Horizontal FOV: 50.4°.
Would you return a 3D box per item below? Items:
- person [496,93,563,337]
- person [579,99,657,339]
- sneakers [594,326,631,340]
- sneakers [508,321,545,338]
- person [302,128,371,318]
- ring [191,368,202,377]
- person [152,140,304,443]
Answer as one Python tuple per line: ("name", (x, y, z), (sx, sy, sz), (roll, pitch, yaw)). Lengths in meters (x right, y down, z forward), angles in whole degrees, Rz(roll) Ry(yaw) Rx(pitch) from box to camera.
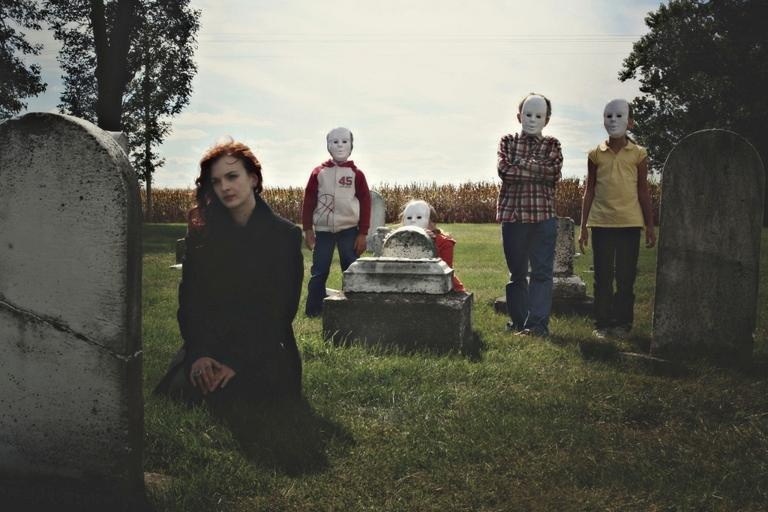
("person", (1.553, -0.448, 8.891), (0.657, 2.573, 0.550), (2, 4, 8))
("person", (2.498, -0.383, 8.750), (0.779, 2.539, 0.500), (3, 4, 14))
("sneakers", (2.463, 0.855, 8.830), (0.271, 0.137, 0.159), (-6, -3, 29))
("sneakers", (1.547, 0.813, 8.900), (0.385, 0.178, 0.142), (-6, 27, 16))
("person", (-0.582, -0.383, 9.563), (0.790, 2.193, 0.404), (2, 3, -3))
("ring", (-1.568, 0.970, 6.797), (0.055, 0.061, 0.014), (2, 14, 17))
("person", (-1.200, 0.196, 6.847), (1.005, 2.256, 0.354), (3, 4, 12))
